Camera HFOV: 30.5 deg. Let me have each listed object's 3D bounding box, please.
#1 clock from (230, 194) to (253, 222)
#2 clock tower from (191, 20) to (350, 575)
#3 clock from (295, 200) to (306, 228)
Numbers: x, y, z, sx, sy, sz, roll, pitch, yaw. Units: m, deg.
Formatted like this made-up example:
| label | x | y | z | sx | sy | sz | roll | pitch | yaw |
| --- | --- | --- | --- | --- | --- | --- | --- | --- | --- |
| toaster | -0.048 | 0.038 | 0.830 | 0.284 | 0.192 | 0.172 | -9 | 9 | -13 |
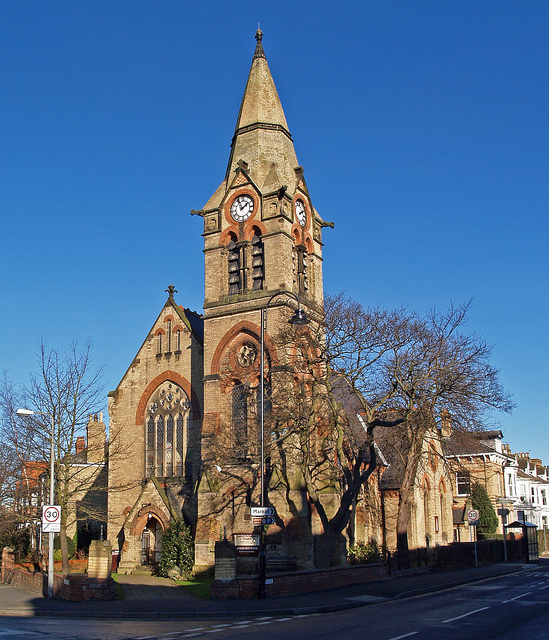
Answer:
| label | x | y | z | sx | sy | sz | roll | pitch | yaw |
| --- | --- | --- | --- | --- | --- | --- | --- | --- | --- |
| clock | -1.514 | -5.099 | 46.870 | 1.107 | 1.179 | 0.117 | -20 | -39 | 36 |
| clock tower | -0.552 | -2.374 | 45.003 | 5.861 | 26.635 | 6.948 | 0 | -17 | -5 |
| clock | 1.174 | -4.963 | 47.762 | 0.097 | 1.077 | 1.056 | -18 | -37 | 20 |
